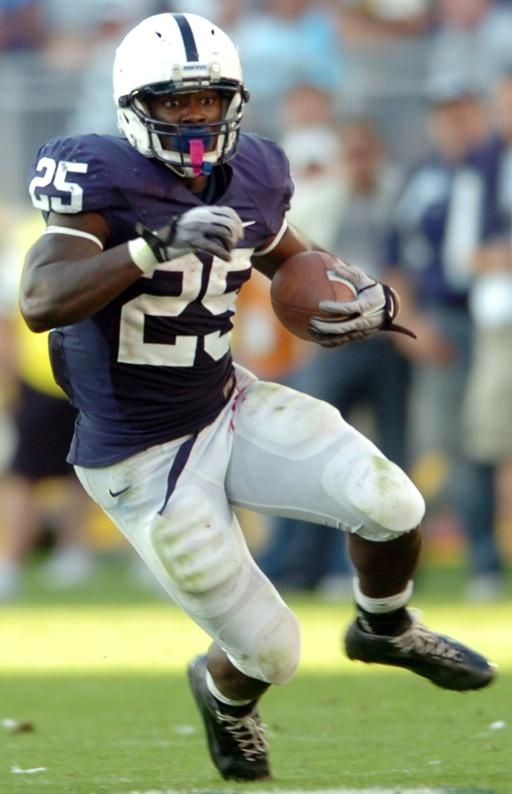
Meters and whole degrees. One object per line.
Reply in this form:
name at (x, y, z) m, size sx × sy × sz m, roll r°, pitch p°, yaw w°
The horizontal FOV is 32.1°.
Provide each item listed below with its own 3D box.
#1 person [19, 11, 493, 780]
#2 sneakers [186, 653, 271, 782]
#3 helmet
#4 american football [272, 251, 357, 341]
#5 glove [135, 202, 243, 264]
person at (-0.079, 0.018, 1.748) m, size 0.710 × 1.469 × 0.577 m, roll -10°, pitch 22°, yaw -19°
sneakers at (-0.039, 0.651, 1.851) m, size 0.100 × 0.282 × 0.120 m, roll -20°, pitch -15°, yaw -36°
helmet at (-0.144, -0.565, 1.664) m, size 0.256 × 0.302 × 0.255 m, roll -2°, pitch 20°, yaw 0°
american football at (0.092, -0.216, 1.848) m, size 0.179 × 0.148 × 0.200 m, roll 2°, pitch 19°, yaw -34°
glove at (-0.103, -0.260, 1.422) m, size 0.161 × 0.082 × 0.114 m, roll -7°, pitch 19°, yaw -16°
